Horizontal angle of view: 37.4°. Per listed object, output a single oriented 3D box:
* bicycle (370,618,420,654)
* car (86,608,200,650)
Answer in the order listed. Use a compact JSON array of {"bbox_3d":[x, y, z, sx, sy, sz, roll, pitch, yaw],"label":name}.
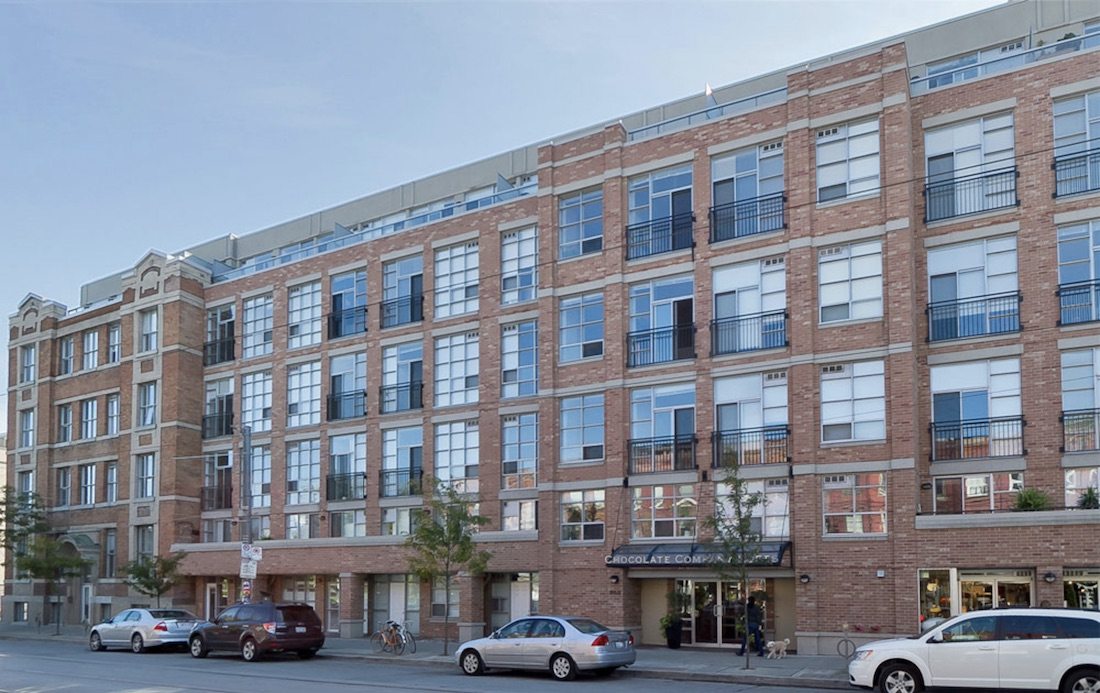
[{"bbox_3d":[-6.481,12.347,68.512,1.209,1.003,1.934,14,-21,-42],"label":"bicycle"},{"bbox_3d":[-17.373,12.136,69.690,4.641,1.975,1.216,-10,-20,24],"label":"car"}]
